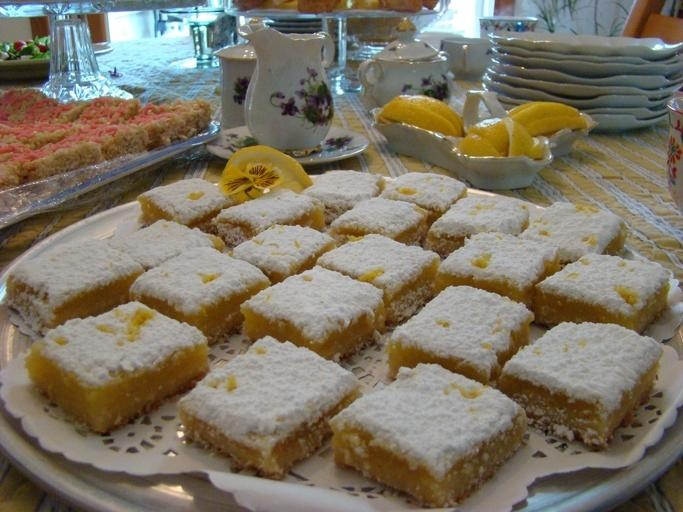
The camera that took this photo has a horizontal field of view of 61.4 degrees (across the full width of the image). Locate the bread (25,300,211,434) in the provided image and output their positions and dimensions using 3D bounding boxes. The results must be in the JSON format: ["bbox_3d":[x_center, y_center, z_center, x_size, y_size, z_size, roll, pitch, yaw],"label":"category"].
[{"bbox_3d":[-0.443,0.159,1.059,0.231,0.101,0.235,22,32,25],"label":"bread"}]

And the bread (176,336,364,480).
[{"bbox_3d":[-0.153,0.238,0.988,0.215,0.081,0.218,17,35,29],"label":"bread"}]

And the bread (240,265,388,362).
[{"bbox_3d":[-0.043,0.085,1.197,0.199,0.089,0.199,22,33,36],"label":"bread"}]

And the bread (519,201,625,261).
[{"bbox_3d":[0.579,-0.063,1.422,0.176,0.080,0.176,-16,29,-27],"label":"bread"}]

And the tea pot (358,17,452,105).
[{"bbox_3d":[0.238,-0.722,2.341,0.370,0.266,0.281,-9,32,-18],"label":"tea pot"}]

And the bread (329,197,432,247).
[{"bbox_3d":[0.117,-0.101,1.526,0.157,0.076,0.155,9,27,34],"label":"bread"}]

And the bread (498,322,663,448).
[{"bbox_3d":[0.415,0.191,1.023,0.214,0.097,0.218,13,41,45],"label":"bread"}]

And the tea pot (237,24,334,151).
[{"bbox_3d":[-0.183,-0.570,1.944,0.372,0.359,0.268,-20,38,-36],"label":"tea pot"}]

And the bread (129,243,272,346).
[{"bbox_3d":[-0.303,0.088,1.326,0.303,0.106,0.294,-11,26,19],"label":"bread"}]

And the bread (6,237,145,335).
[{"bbox_3d":[-0.607,0.031,1.250,0.197,0.078,0.202,32,40,33],"label":"bread"}]

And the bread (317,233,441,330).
[{"bbox_3d":[0.106,0.018,1.352,0.216,0.106,0.212,22,35,34],"label":"bread"}]

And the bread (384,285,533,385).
[{"bbox_3d":[0.269,0.166,1.285,0.276,0.336,0.153,-12,58,14],"label":"bread"}]

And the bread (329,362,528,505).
[{"bbox_3d":[0.148,0.237,0.913,0.213,0.091,0.211,-19,28,-35],"label":"bread"}]
